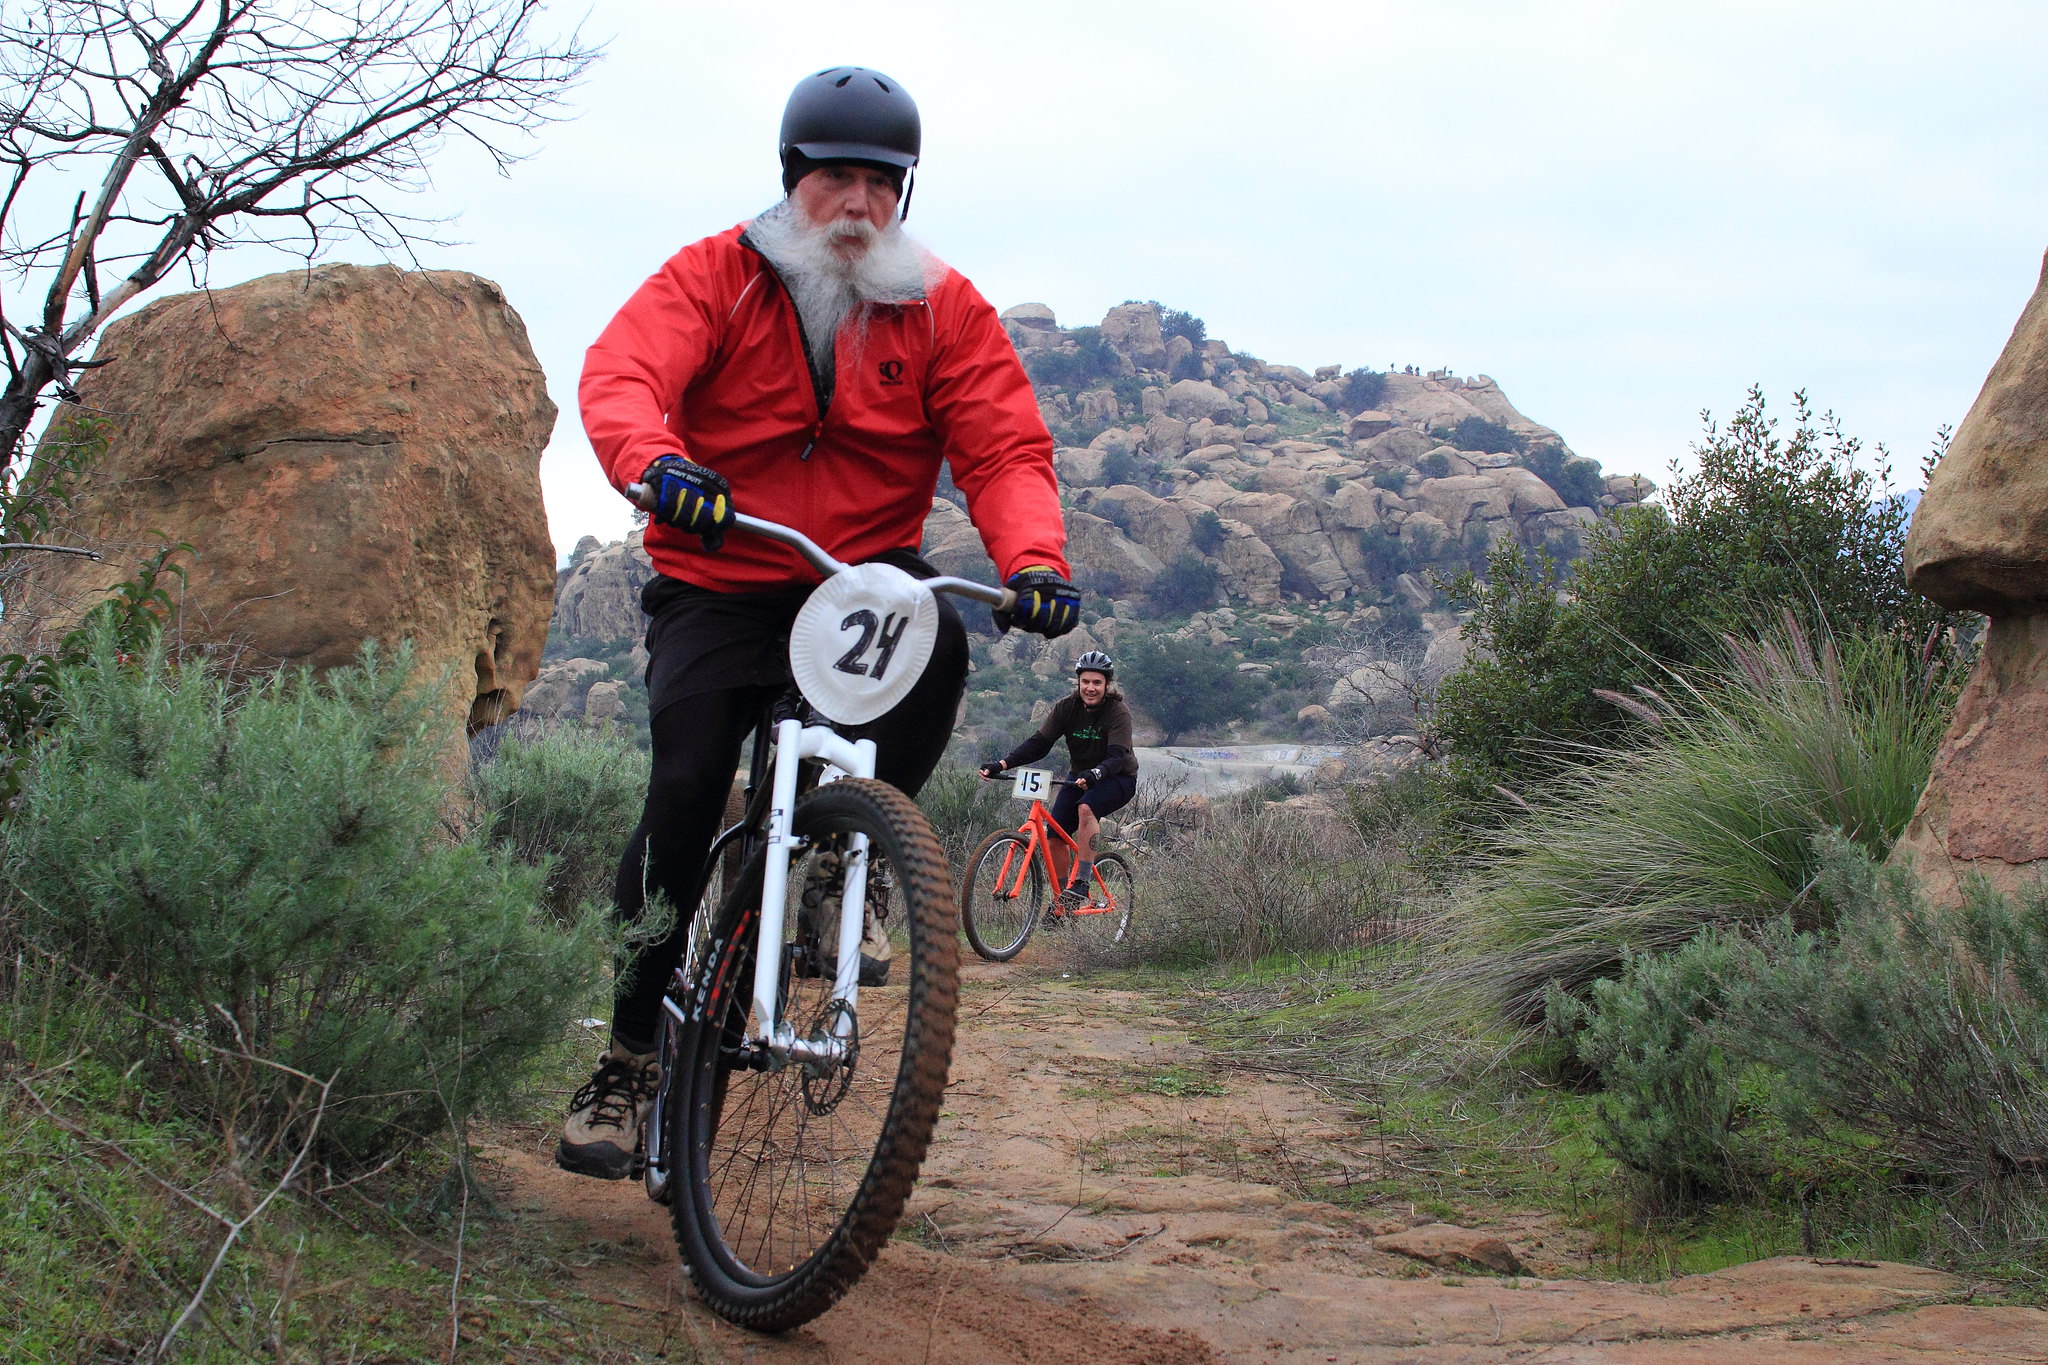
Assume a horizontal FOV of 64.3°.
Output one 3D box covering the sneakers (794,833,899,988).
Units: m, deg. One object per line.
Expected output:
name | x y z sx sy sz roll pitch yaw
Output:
sneakers | -0.591 0.766 5.235 0.212 0.441 0.291 -1 2 36

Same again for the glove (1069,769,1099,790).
glove | 0.542 0.857 14.429 0.151 0.086 0.210 1 4 26

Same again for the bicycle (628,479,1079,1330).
bicycle | -0.695 0.763 5.180 1.295 2.649 0.635 6 0 41

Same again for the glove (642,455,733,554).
glove | -1.038 -0.526 4.944 0.208 0.133 0.292 23 30 -15

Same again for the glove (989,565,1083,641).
glove | 0.046 -0.258 5.379 0.256 0.216 0.122 -7 5 24

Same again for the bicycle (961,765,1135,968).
bicycle | 0.306 1.636 14.478 1.260 1.644 2.520 5 -6 36

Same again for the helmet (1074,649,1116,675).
helmet | 0.660 -0.192 15.414 0.408 0.249 0.628 3 7 2
